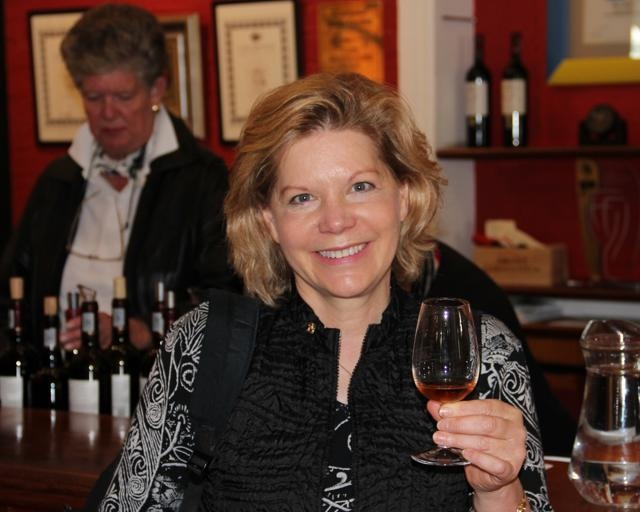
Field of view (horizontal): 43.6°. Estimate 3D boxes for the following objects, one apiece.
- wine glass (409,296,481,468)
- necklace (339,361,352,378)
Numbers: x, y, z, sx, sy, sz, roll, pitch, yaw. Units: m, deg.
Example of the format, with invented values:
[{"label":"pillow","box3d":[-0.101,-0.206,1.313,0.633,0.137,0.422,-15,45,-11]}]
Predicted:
[{"label":"wine glass","box3d":[0.298,0.325,1.933,0.167,0.445,0.212,-1,7,11]},{"label":"necklace","box3d":[0.064,0.301,2.114,0.019,0.023,0.039,-5,-23,5]}]
